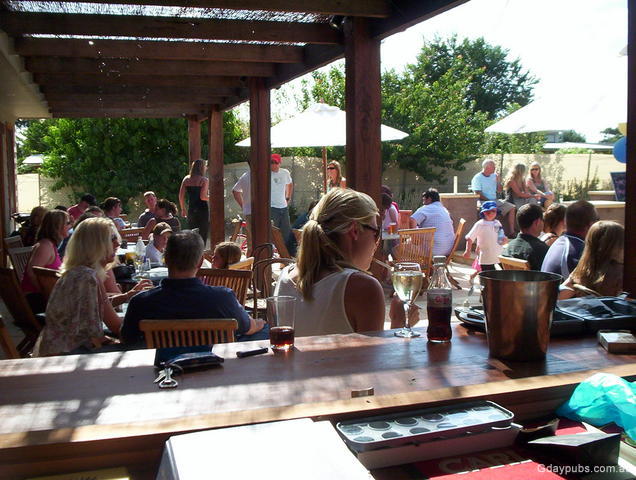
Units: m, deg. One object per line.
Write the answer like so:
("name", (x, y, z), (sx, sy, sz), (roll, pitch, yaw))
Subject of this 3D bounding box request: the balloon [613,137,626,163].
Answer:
("balloon", (2.652, -0.804, 4.470), (0.072, 0.233, 0.676), (4, 8, 28))

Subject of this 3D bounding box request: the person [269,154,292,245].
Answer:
("person", (-0.578, -0.611, 8.216), (0.365, 1.506, 0.367), (0, 8, -36))

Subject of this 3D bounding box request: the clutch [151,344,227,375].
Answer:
("clutch", (-0.396, 0.344, 1.535), (0.132, 0.059, 0.126), (-2, 10, -26))

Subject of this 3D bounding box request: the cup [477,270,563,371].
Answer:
("cup", (0.627, 0.221, 1.601), (0.240, 0.280, 0.246), (0, 5, 0))

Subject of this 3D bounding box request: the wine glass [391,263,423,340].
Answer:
("wine glass", (0.330, 0.206, 1.879), (0.108, 0.294, 0.109), (-1, 10, -18))

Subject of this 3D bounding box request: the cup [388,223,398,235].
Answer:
("cup", (1.059, -0.158, 7.182), (0.109, 0.202, 0.195), (0, 0, -1))
